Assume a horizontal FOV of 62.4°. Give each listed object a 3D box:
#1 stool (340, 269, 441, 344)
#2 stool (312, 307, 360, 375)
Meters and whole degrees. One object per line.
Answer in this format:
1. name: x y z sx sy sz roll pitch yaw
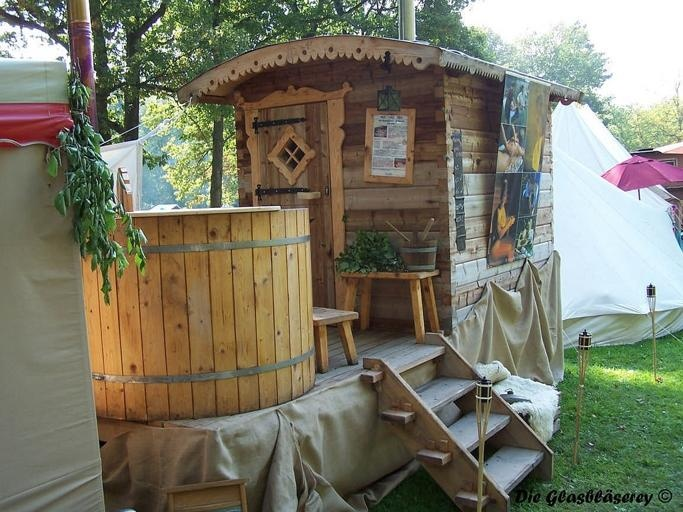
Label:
1. stool: 0.447 0.388 5.993 0.827 0.560 0.458 2 13 14
2. stool: -0.155 0.752 5.073 0.463 0.493 0.527 1 5 44
